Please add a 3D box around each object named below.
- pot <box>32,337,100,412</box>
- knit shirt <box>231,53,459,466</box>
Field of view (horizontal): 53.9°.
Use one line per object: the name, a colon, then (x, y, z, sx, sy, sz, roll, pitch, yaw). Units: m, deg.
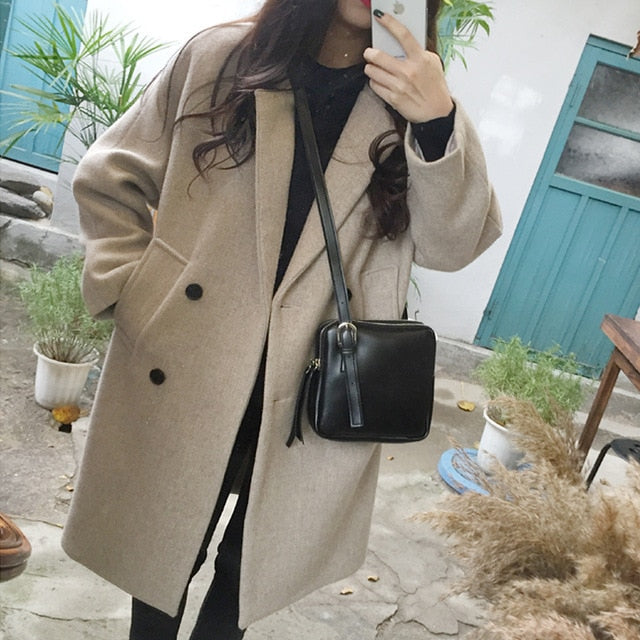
pot: (-1.154, 0.259, 2.823, 0.310, 0.234, 0.283, 14, 5, -1)
knit shirt: (-0.004, -0.118, 1.250, 0.299, 0.767, 0.095, 5, -9, -3)
